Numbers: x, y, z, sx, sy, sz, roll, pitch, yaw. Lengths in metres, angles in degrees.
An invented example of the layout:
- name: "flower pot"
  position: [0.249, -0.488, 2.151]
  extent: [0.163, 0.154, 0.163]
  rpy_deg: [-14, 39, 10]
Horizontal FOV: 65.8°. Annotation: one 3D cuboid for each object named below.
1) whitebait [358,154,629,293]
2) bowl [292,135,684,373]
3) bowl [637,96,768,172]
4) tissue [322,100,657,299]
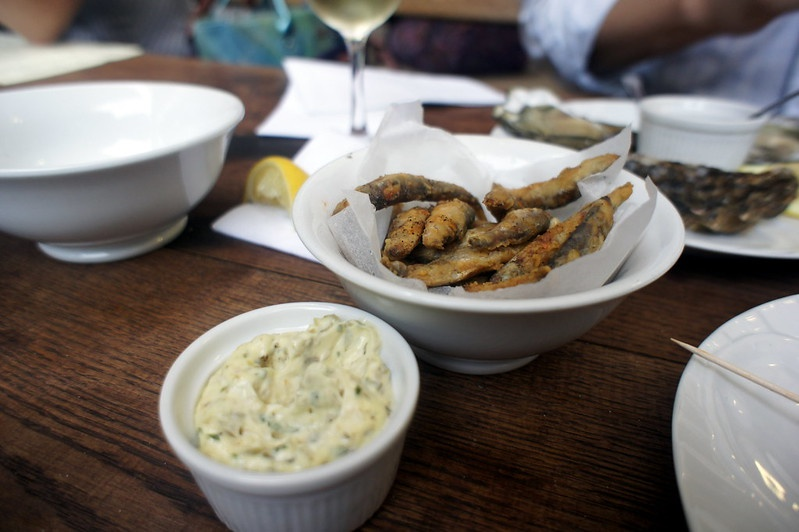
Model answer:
- name: "whitebait"
  position: [0.224, -0.082, 1.383]
  extent: [0.556, 0.129, 0.310]
  rpy_deg: [-15, 38, -13]
- name: "bowl"
  position: [0.184, 0.041, 1.535]
  extent: [0.619, 0.237, 0.595]
  rpy_deg: [0, 37, 0]
- name: "bowl"
  position: [0.932, -0.418, 1.951]
  extent: [0.380, 0.176, 0.357]
  rpy_deg: [3, 28, -1]
- name: "tissue"
  position: [0.145, -0.184, 1.464]
  extent: [0.588, 0.236, 0.511]
  rpy_deg: [-19, 42, -19]
